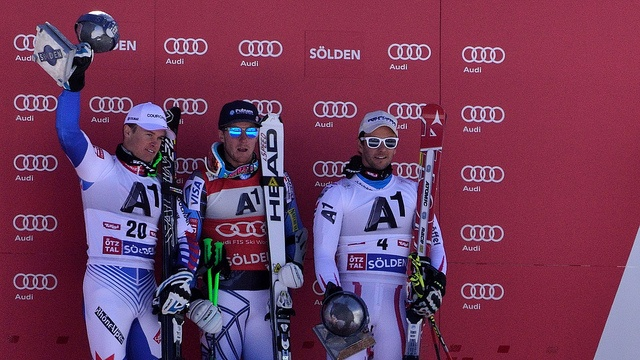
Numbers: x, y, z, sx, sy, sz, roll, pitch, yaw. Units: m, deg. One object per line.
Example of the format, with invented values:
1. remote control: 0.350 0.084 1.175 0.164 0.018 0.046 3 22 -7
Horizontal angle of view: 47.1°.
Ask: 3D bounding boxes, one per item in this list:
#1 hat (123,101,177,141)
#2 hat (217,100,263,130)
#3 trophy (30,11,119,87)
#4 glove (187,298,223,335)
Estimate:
1. hat: -2.032 -0.743 8.750 0.586 0.350 0.433 7 -8 38
2. hat: -0.938 -0.787 8.818 0.478 0.362 0.660 1 -1 -12
3. trophy: -2.769 -1.543 8.391 0.890 0.725 0.424 -35 9 -19
4. glove: -1.316 1.535 8.440 0.408 0.301 0.169 43 -9 -3
